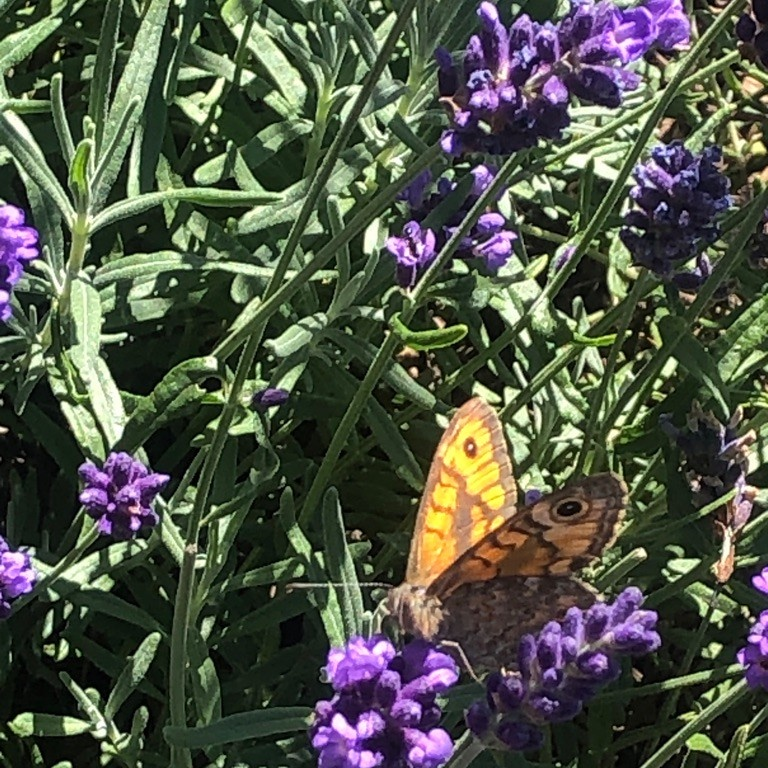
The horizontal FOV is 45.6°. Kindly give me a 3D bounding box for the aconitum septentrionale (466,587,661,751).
[{"bbox_3d":[0.273,0.432,1.380,0.180,0.346,0.094,29,24,12],"label":"aconitum septentrionale"}]

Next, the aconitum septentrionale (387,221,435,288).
[{"bbox_3d":[0.048,-0.263,1.741,0.046,0.092,0.103,43,1,-33],"label":"aconitum septentrionale"}]

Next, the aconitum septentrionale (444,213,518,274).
[{"bbox_3d":[0.244,-0.324,2.065,0.074,0.130,0.155,36,27,27],"label":"aconitum septentrionale"}]
